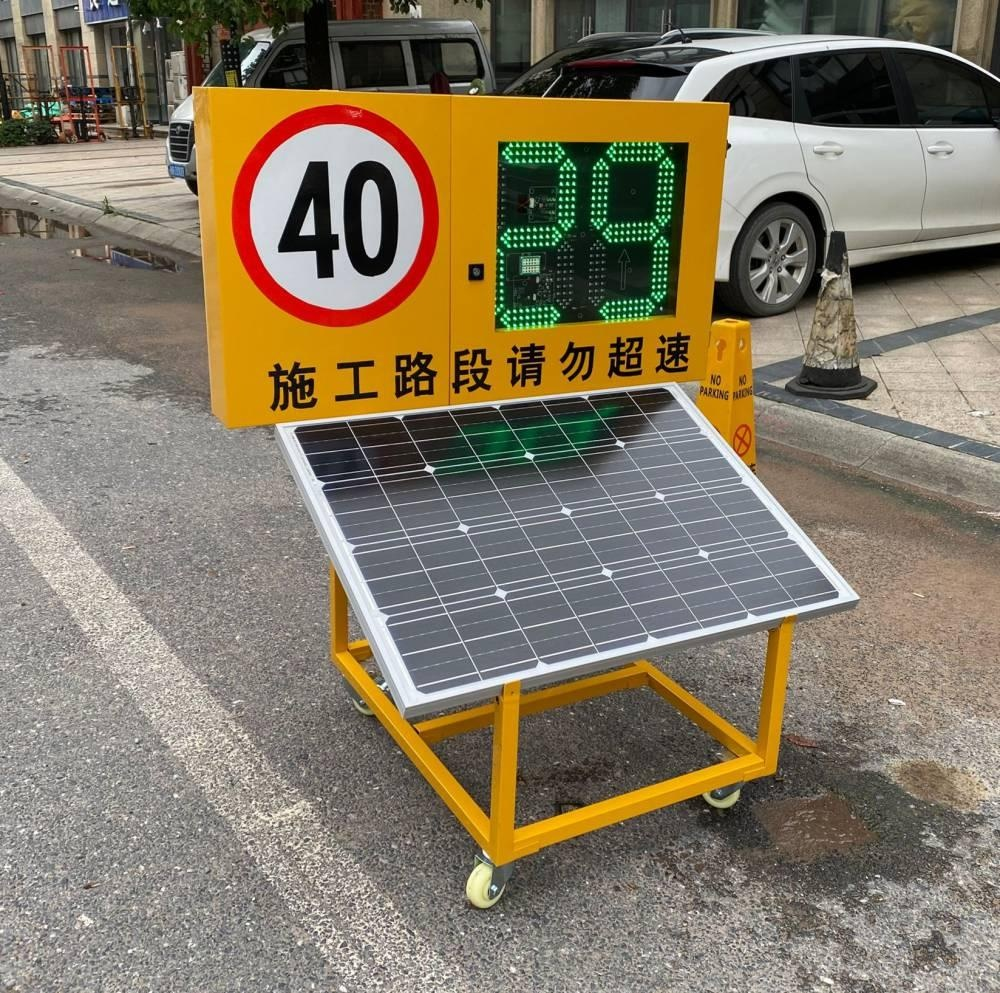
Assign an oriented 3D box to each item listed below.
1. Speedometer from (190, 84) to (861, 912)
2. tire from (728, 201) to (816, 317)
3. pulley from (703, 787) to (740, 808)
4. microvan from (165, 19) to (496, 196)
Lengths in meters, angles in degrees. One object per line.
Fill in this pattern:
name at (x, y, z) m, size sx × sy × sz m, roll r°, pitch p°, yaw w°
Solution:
Speedometer at (0.139, -0.115, 2.990) m, size 1.668 × 2.157 × 1.327 m, roll -15°, pitch 25°, yaw -27°
tire at (2.229, -1.979, 8.168) m, size 1.042 × 0.920 × 0.303 m, roll -20°, pitch 27°, yaw -35°
pulley at (0.686, 0.930, 3.001) m, size 0.105 × 0.033 × 0.103 m, roll -8°, pitch 11°, yaw -38°
microvan at (-2.737, -5.712, 14.057) m, size 2.511 × 2.323 × 4.982 m, roll 25°, pitch 36°, yaw 34°
